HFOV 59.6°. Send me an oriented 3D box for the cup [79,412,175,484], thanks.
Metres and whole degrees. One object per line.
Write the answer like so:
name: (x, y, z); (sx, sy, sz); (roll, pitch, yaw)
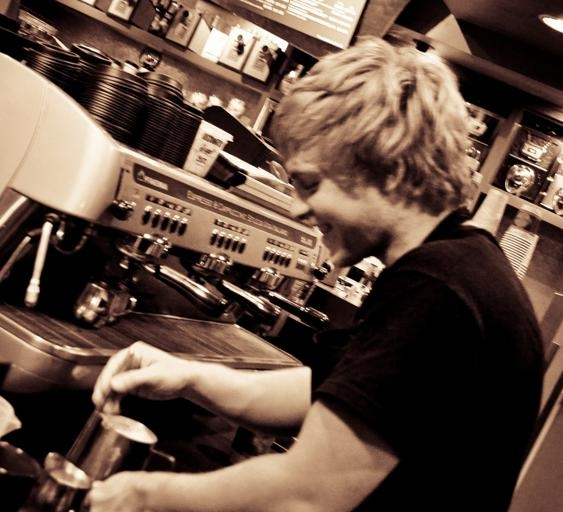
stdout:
cup: (-0.205, 0.253, 0.671); (0.123, 0.081, 0.067); (15, 18, -21)
